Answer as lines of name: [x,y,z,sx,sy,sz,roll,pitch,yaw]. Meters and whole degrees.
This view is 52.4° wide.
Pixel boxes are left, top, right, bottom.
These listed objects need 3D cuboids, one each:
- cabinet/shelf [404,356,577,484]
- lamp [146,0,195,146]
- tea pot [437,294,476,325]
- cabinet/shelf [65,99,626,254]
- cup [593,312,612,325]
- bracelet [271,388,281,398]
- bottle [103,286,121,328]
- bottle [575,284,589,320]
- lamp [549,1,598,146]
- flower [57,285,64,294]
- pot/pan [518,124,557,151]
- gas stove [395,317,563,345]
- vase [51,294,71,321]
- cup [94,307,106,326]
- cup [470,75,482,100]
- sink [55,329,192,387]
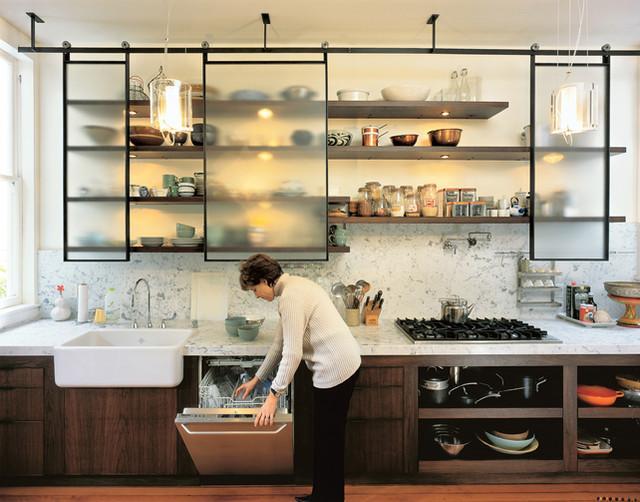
cabinet/shelf: [1.688,1.397,5.351,0.840,0.864,1.477,22,-27,-36]
lamp: [-1.142,-1.404,4.975,0.330,1.108,0.993,1,1,-12]
tea pot: [1.129,0.488,5.451,0.313,0.169,0.207,0,0,-12]
cabinet/shelf: [0.159,-0.562,5.480,4.517,1.338,0.520,1,1,-3]
cup: [2.348,0.556,5.378,0.113,0.099,0.138,1,2,-42]
bracelet: [-0.300,0.964,4.444,0.060,0.037,0.077,23,-2,34]
bottle: [-1.747,0.464,5.496,0.144,0.286,0.240,1,1,-17]
bottle: [2.260,0.434,5.574,0.102,0.273,0.134,2,2,37]
lamp: [1.988,-1.416,5.067,0.317,1.095,0.789,2,1,19]
flower: [-2.251,0.335,5.634,0.055,0.083,0.090,1,1,-15]
pot/pan: [1.879,-0.994,5.652,0.209,0.282,0.194,1,2,6]
gas stove: [1.245,0.630,5.240,1.246,0.122,0.579,1,1,2]
vase: [-2.230,0.491,5.603,0.146,0.207,0.143,1,1,-4]
cup: [-1.839,0.542,5.430,0.095,0.130,0.123,1,1,-17]
cup: [1.310,-1.369,5.503,0.058,0.206,0.106,0,2,-41]
sink: [-1.496,0.818,5.026,0.944,0.372,0.531,1,1,-3]
